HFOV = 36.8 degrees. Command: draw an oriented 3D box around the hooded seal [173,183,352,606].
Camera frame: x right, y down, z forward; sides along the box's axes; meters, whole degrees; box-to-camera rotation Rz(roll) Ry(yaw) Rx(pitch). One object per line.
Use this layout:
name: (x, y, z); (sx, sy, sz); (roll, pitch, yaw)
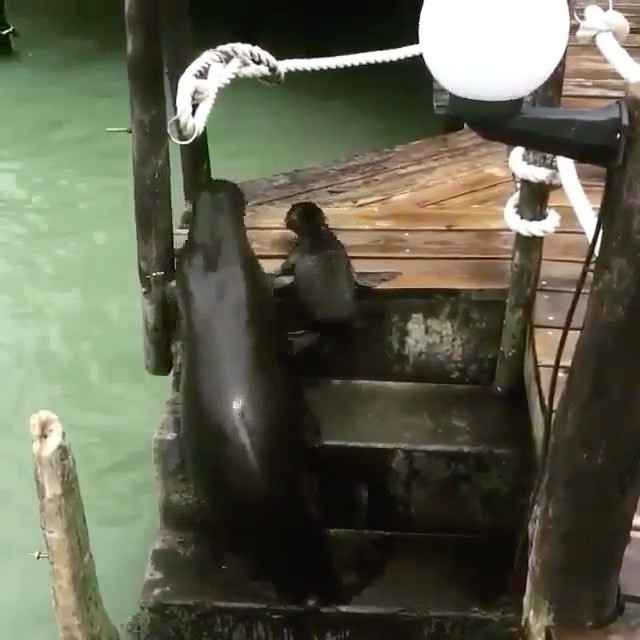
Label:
hooded seal: (-0.142, 0.297, 3.340); (0.384, 1.797, 0.607); (-8, 17, -23)
